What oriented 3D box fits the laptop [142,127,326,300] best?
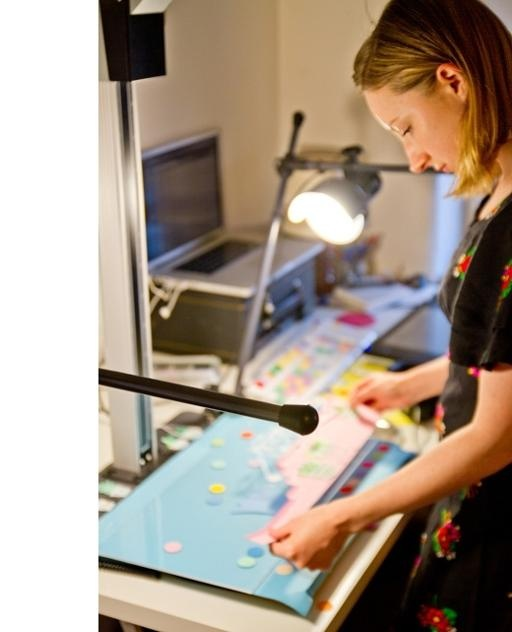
[{"bbox_3d":[-0.036,-0.295,1.648,0.412,0.317,0.532,12,23,22],"label":"laptop"}]
